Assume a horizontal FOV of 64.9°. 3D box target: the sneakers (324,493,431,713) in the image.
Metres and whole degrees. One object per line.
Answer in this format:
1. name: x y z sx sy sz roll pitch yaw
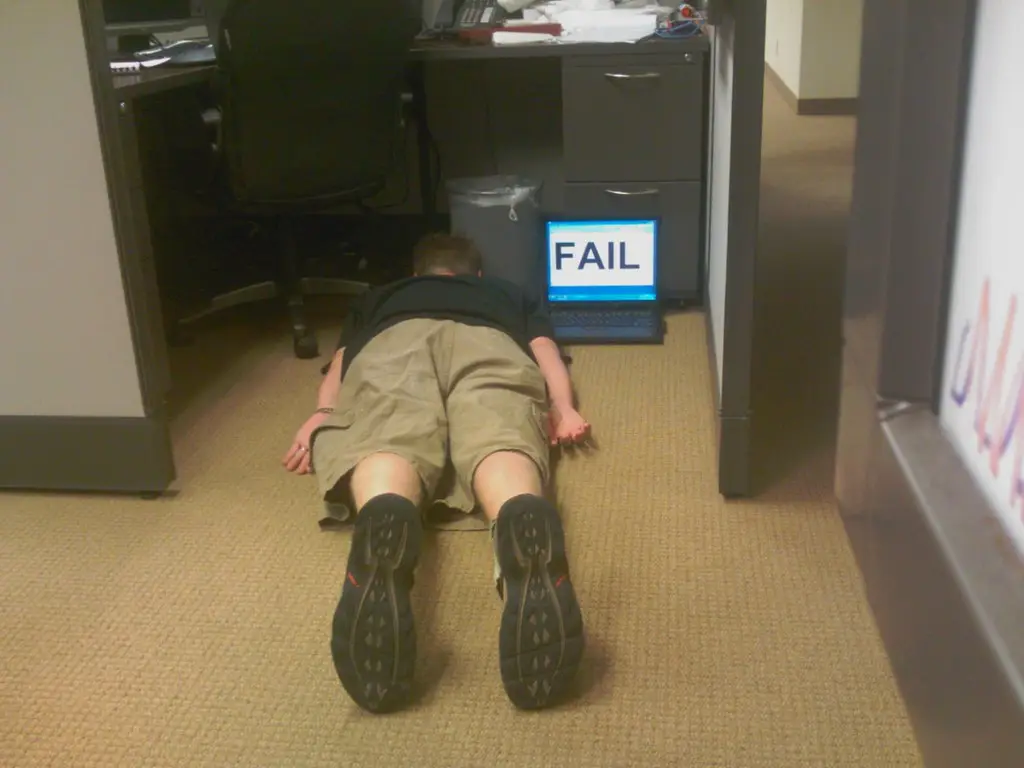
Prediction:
1. sneakers: -0.195 0.319 1.187 0.116 0.115 0.301 3 73 -2

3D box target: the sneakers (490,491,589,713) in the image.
1. sneakers: 0.042 0.316 1.156 0.130 0.137 0.337 -11 28 9

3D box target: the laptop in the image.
1. laptop: 0.253 -0.320 2.256 0.361 0.371 0.282 0 8 4

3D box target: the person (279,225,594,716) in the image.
1. person: -0.172 0.100 1.744 0.530 0.374 1.327 1 19 -6
